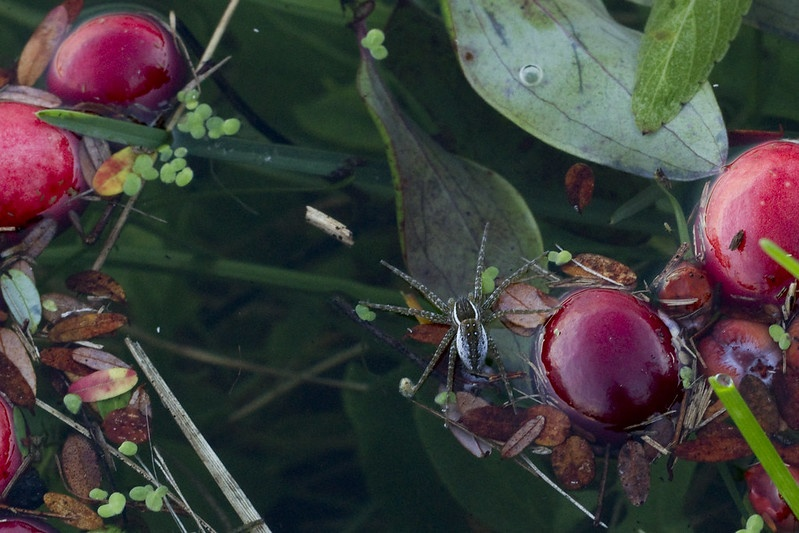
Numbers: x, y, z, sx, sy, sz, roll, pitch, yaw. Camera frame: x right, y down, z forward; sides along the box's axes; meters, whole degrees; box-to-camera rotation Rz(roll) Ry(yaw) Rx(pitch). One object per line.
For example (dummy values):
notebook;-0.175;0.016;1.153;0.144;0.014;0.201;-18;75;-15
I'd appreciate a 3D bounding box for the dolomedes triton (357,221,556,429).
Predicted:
dolomedes triton;0.167;0.130;2.565;0.477;0.440;0.129;-15;0;-5
